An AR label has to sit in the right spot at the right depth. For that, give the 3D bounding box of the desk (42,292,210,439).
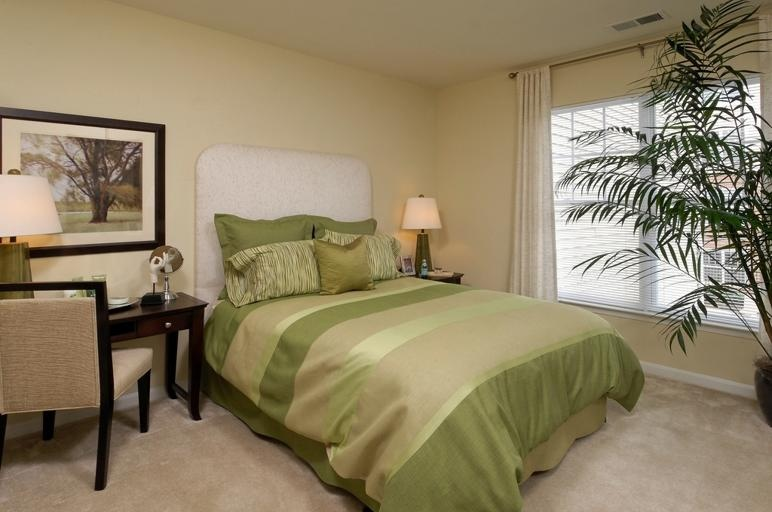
[{"bbox_3d":[-2.022,0.865,3.857,0.595,0.928,0.964,5,4,44],"label":"desk"}]
